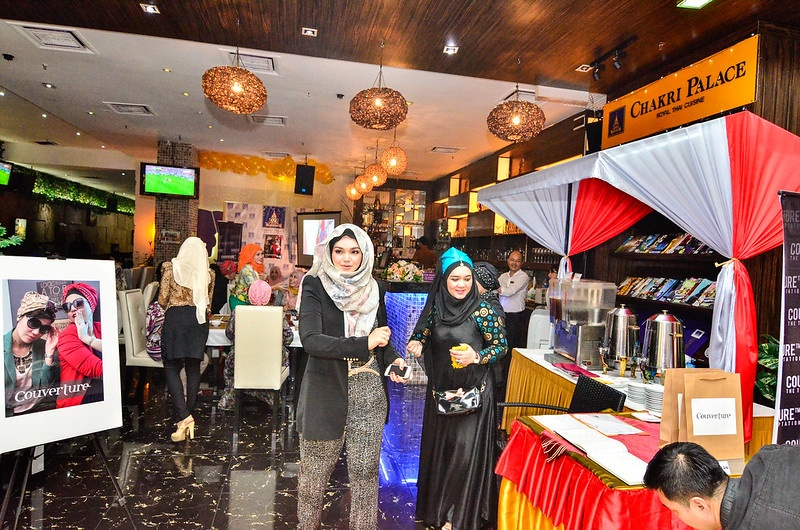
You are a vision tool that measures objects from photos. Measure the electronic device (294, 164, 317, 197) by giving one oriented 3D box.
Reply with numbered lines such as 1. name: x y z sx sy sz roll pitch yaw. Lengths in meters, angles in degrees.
1. electronic device: -2.060 -1.846 11.481 0.455 0.640 0.163 5 13 -2

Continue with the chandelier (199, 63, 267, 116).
1. chandelier: -1.996 -1.946 6.110 0.607 0.376 0.603 19 1 -23

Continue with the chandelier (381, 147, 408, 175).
1. chandelier: -0.089 -1.763 8.990 0.531 0.528 0.619 3 5 6

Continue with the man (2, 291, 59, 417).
1. man: -2.852 0.700 4.064 0.339 0.816 0.180 -6 12 -37

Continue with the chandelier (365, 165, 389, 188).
1. chandelier: -0.464 -1.723 10.024 0.352 0.387 0.544 1 10 -7

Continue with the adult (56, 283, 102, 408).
1. adult: -2.611 0.630 4.262 0.330 0.943 0.253 -4 12 -32

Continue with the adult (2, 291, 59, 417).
1. adult: -2.852 0.700 4.064 0.339 0.816 0.180 -6 12 -37

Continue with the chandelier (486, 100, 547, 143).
1. chandelier: 1.386 -1.737 6.499 0.561 0.325 0.558 0 19 -6

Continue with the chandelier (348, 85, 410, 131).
1. chandelier: -0.300 -1.770 6.159 0.513 0.287 0.545 -1 2 -17

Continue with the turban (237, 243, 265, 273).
1. turban: -1.905 -0.094 6.778 0.345 0.438 0.433 -3 -5 42
